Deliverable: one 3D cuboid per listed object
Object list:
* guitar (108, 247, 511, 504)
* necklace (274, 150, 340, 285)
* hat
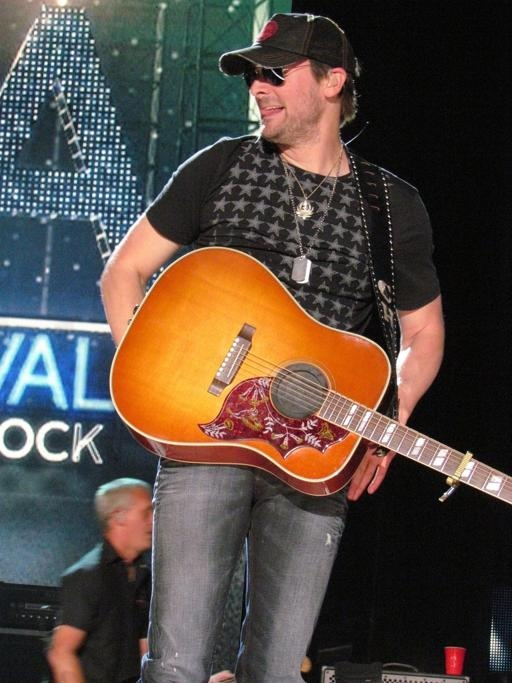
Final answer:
[{"bbox_3d":[0.105,0.069,1.872,0.885,0.424,0.351,15,24,8],"label":"guitar"},{"bbox_3d":[0.135,-0.339,2.108,0.139,0.021,0.378,9,60,-7],"label":"necklace"},{"bbox_3d":[0.111,-0.834,2.213,0.360,0.151,0.206,11,8,-25],"label":"hat"}]
